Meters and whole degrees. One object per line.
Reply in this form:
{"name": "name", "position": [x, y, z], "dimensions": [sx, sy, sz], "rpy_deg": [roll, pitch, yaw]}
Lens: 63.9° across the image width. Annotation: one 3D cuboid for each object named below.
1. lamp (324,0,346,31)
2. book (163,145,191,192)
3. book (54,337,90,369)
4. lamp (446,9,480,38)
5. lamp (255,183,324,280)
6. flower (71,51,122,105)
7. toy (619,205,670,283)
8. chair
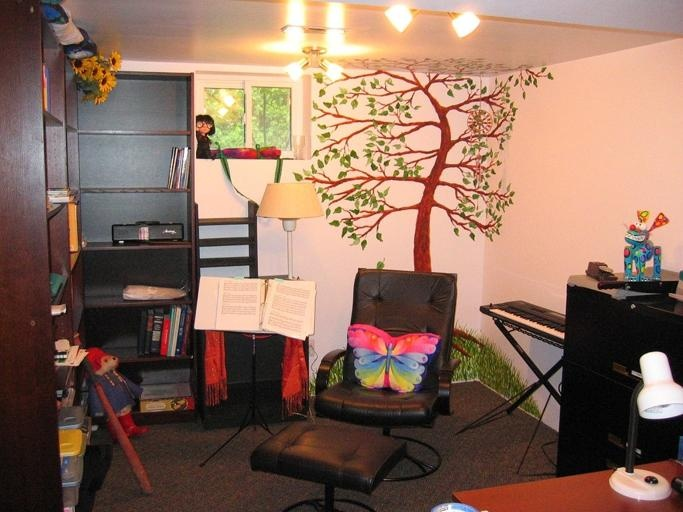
{"name": "lamp", "position": [-0.034, -1.321, 3.050], "dimensions": [0.125, 0.141, 0.126], "rpy_deg": [2, 1, -13]}
{"name": "book", "position": [-1.275, -0.685, 4.302], "dimensions": [0.184, 0.313, 0.212], "rpy_deg": [-3, 13, -17]}
{"name": "book", "position": [-1.457, 0.522, 2.972], "dimensions": [0.183, 0.088, 0.242], "rpy_deg": [3, 10, -5]}
{"name": "lamp", "position": [0.613, -1.171, 2.733], "dimensions": [0.108, 0.135, 0.355], "rpy_deg": [2, 12, 8]}
{"name": "lamp", "position": [-0.366, -0.195, 4.303], "dimensions": [0.465, 0.767, 0.528], "rpy_deg": [4, 13, 15]}
{"name": "flower", "position": [-1.626, -1.190, 3.669], "dimensions": [0.277, 0.412, 0.370], "rpy_deg": [6, 21, -8]}
{"name": "toy", "position": [1.813, -0.083, 3.272], "dimensions": [0.208, 0.396, 0.531], "rpy_deg": [8, 14, 30]}
{"name": "chair", "position": [0.399, 0.692, 3.929], "dimensions": [1.094, 1.563, 1.331], "rpy_deg": [2, 4, 16]}
